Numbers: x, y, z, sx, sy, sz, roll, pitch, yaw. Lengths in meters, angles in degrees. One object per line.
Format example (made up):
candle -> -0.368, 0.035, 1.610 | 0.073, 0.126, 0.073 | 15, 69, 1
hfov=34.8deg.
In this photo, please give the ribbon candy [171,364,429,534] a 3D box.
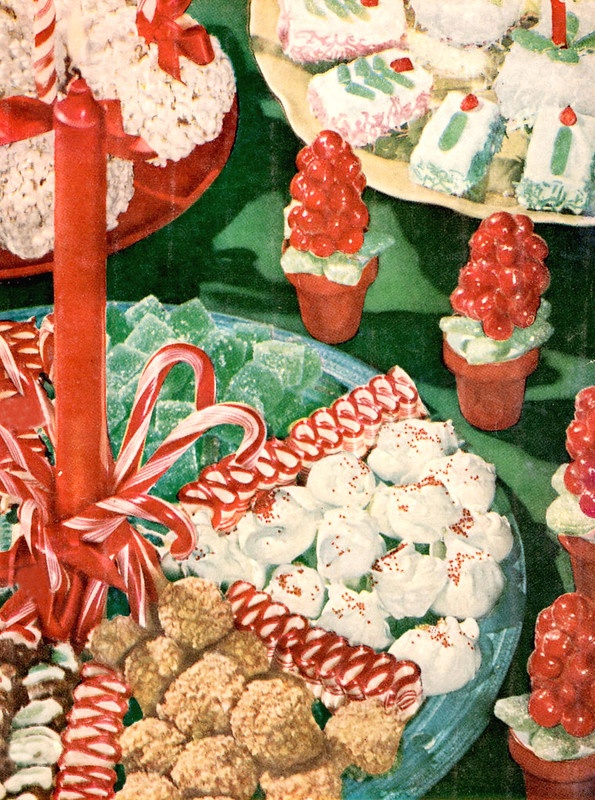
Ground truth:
ribbon candy -> 0.028, 0.081, 1.815 | 0.490, 0.279, 0.341 | 14, 35, 40
